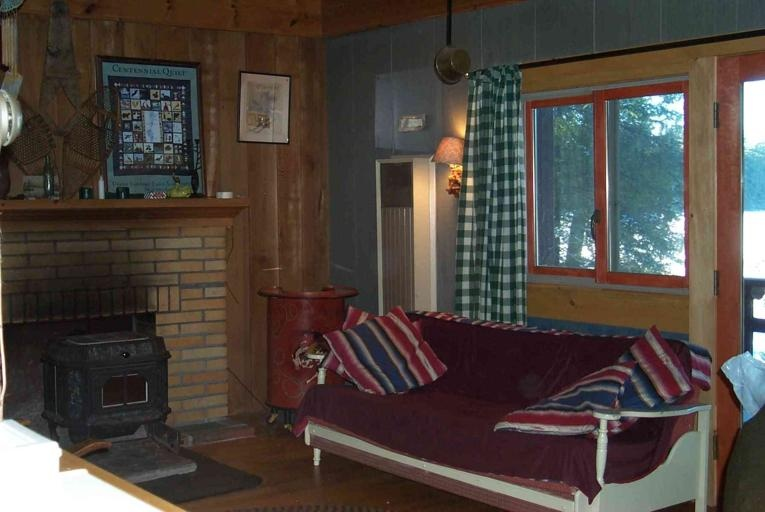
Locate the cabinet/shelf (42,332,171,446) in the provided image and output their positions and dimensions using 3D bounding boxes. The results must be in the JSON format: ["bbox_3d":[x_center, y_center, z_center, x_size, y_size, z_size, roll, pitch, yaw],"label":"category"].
[{"bbox_3d":[-2.007,0.785,5.110,1.089,0.887,0.724,-3,7,-31],"label":"cabinet/shelf"}]

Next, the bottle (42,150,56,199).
[{"bbox_3d":[-2.515,-0.600,5.074,0.090,0.328,0.277,-4,8,-25],"label":"bottle"}]

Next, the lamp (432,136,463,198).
[{"bbox_3d":[0.512,-0.706,5.297,0.237,0.480,0.306,0,7,5],"label":"lamp"}]

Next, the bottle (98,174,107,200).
[{"bbox_3d":[-2.201,-0.540,5.272,0.055,0.176,0.246,-4,8,-22],"label":"bottle"}]

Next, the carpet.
[{"bbox_3d":[-1.256,1.500,4.540,0.807,0.044,0.606,6,10,41],"label":"carpet"}]

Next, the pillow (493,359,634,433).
[{"bbox_3d":[1.002,0.775,3.739,0.658,0.384,0.400,4,9,31],"label":"pillow"}]
